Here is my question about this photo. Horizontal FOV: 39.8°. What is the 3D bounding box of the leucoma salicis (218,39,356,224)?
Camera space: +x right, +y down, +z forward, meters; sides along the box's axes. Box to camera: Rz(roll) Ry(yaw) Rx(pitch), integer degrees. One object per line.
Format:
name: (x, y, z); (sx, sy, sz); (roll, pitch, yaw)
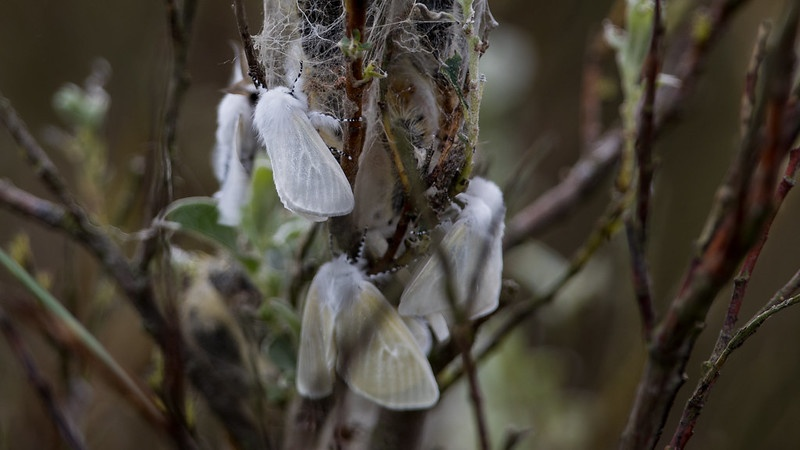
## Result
leucoma salicis: (-0.214, -0.179, 1.886); (0.262, 0.121, 0.415); (-9, 49, 10)

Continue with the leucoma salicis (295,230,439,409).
leucoma salicis: (-0.104, 0.175, 1.861); (0.291, 0.293, 0.094); (2, -27, -36)

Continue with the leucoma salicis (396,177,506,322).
leucoma salicis: (0.107, 0.034, 1.867); (0.170, 0.092, 0.284); (1, 35, 31)
